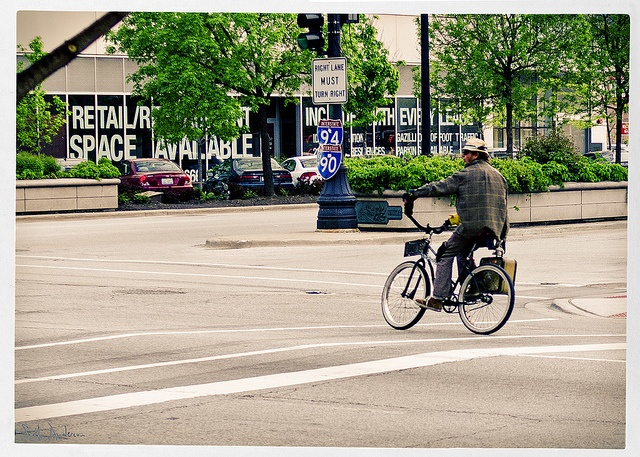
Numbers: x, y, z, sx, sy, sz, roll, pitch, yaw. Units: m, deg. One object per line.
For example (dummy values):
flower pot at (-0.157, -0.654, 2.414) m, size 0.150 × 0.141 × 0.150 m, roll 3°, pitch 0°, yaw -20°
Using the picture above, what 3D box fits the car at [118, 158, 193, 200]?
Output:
car at (-5.529, -1.694, 42.802) m, size 1.654 × 1.411 × 2.873 m, roll -2°, pitch 6°, yaw -27°

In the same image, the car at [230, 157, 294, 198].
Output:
car at (-2.213, -1.800, 45.001) m, size 1.554 × 1.232 × 2.436 m, roll -4°, pitch 6°, yaw -14°

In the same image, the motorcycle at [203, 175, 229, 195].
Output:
motorcycle at (-3.590, -1.534, 45.351) m, size 0.677 × 0.493 × 1.111 m, roll -3°, pitch 7°, yaw -37°

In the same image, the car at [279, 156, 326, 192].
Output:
car at (-0.541, -2.055, 45.780) m, size 1.743 × 1.315 × 1.169 m, roll 0°, pitch 9°, yaw -22°

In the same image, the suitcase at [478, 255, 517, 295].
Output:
suitcase at (2.841, 0.740, 21.106) m, size 0.551 × 0.569 × 0.543 m, roll 0°, pitch 4°, yaw 6°

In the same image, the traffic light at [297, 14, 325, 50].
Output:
traffic light at (-0.197, -4.396, 29.278) m, size 0.601 × 0.820 × 0.953 m, roll 0°, pitch 4°, yaw -1°
